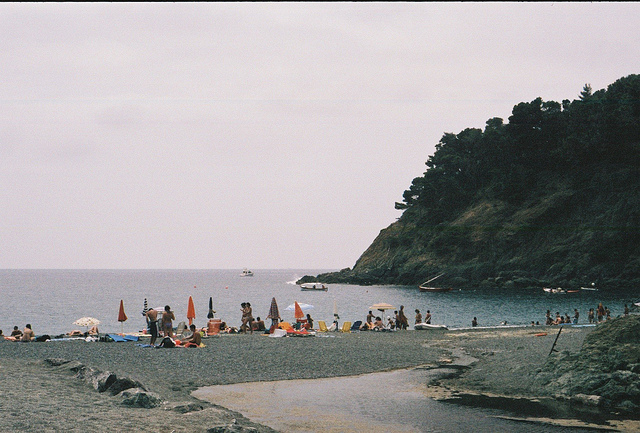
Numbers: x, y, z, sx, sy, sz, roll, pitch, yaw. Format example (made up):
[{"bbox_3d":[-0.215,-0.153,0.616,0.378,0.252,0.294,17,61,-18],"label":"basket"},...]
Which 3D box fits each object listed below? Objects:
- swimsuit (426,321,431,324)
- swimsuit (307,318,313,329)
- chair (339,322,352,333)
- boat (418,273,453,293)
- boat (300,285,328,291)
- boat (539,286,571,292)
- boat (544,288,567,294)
[{"bbox_3d":[13.233,13.001,121.465,0.623,0.458,0.609,-2,-15,4],"label":"swimsuit"},{"bbox_3d":[-1.157,12.600,116.458,0.466,1.180,0.788,3,-7,-22],"label":"swimsuit"},{"bbox_3d":[3.055,13.192,117.781,1.476,1.198,1.419,1,-7,-1],"label":"chair"},{"bbox_3d":[21.012,12.400,175.996,6.284,3.685,2.148,-1,-4,2],"label":"boat"},{"bbox_3d":[-1.220,14.903,205.663,6.355,1.074,1.264,5,-5,7],"label":"boat"},{"bbox_3d":[37.960,11.853,160.010,3.785,0.875,1.275,0,0,11],"label":"boat"},{"bbox_3d":[37.530,12.075,159.081,3.328,0.773,1.091,7,-1,29],"label":"boat"}]
